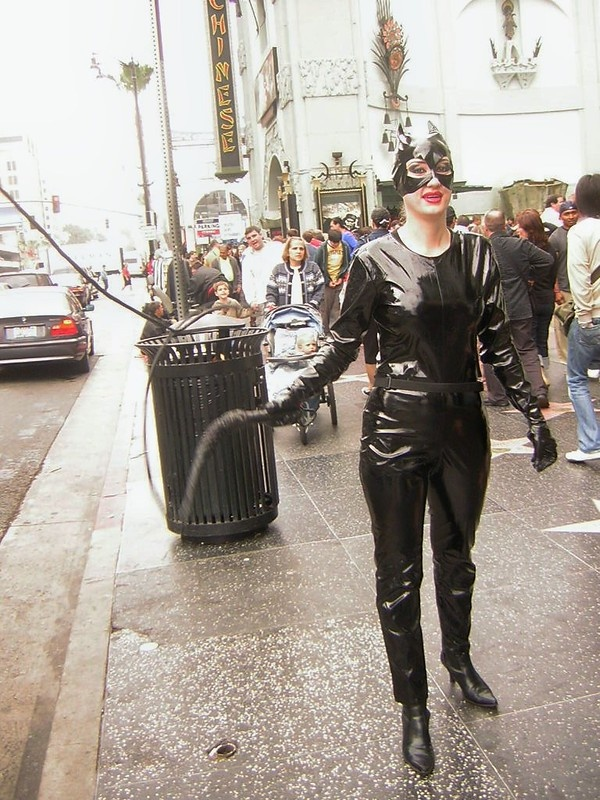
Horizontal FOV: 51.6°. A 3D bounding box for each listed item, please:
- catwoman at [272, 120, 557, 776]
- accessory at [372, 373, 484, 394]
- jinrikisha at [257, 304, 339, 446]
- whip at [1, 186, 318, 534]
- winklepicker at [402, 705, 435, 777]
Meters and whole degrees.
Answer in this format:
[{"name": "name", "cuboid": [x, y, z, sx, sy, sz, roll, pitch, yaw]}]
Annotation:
[{"name": "catwoman", "cuboid": [0.271, 0.224, 2.018, 0.833, 2.008, 0.895, 4, 19, -3]}, {"name": "accessory", "cuboid": [0.346, -0.046, 1.781, 0.120, 0.025, 0.132, 6, 5, -39]}, {"name": "jinrikisha", "cuboid": [-0.078, -0.304, 6.131, 0.613, 1.157, 1.454, -2, 14, 6]}, {"name": "whip", "cuboid": [-0.439, 0.064, 2.282, 0.578, 1.262, 1.985, -10, 7, -12]}, {"name": "winklepicker", "cuboid": [0.332, 0.980, 1.789, 0.074, 0.126, 0.195, 0, 11, 3]}]
